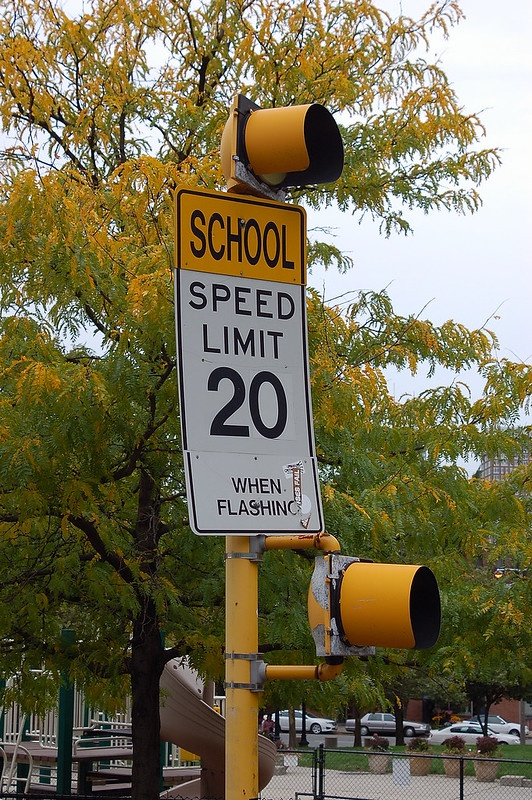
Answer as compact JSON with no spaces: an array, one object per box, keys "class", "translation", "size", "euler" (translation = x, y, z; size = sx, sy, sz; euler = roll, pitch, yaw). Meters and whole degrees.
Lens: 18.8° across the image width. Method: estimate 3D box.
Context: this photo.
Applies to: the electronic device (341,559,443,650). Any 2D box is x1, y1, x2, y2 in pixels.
[{"class":"electronic device","translation":[0.556,1.029,7.849],"size":[0.458,0.470,0.466],"euler":[-9,-17,41]}]
